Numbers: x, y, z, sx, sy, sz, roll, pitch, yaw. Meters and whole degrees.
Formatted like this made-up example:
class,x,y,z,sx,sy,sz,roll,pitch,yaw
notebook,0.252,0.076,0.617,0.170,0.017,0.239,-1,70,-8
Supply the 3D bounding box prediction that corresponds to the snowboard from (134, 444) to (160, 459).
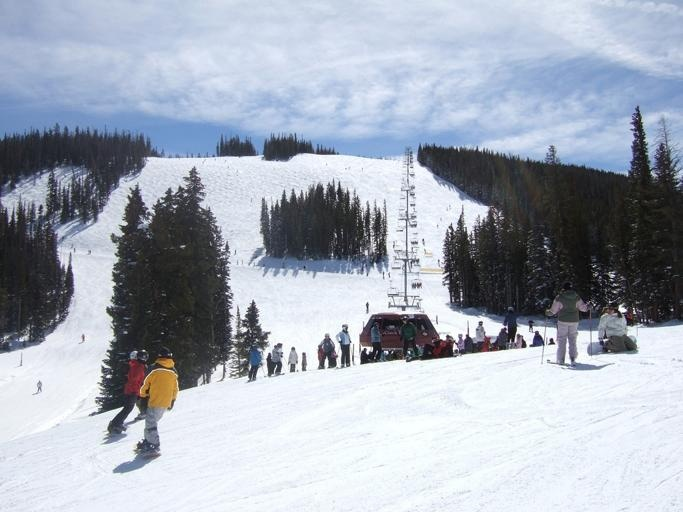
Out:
class,x,y,z,sx,sy,sz,roll,pitch,yaw
snowboard,-8.026,8.154,32.185,1.029,0.513,0.465,1,-8,-1
